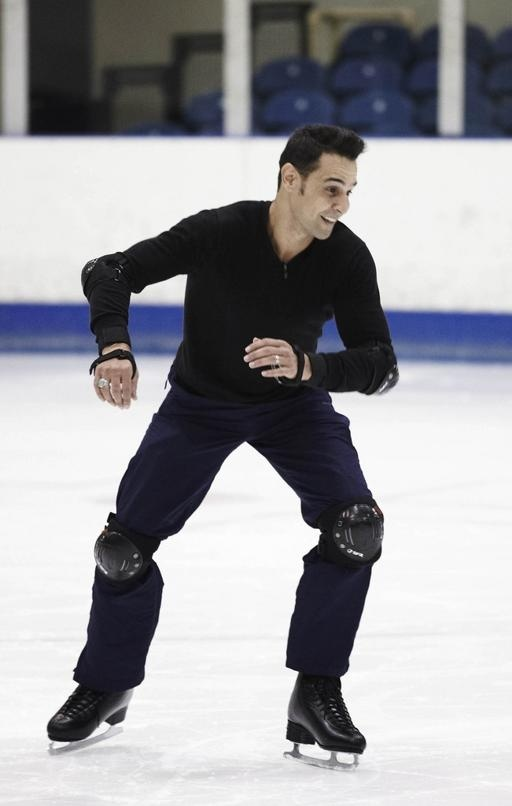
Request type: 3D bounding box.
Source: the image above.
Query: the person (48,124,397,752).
[{"bbox_3d":[-0.049,0.017,1.538,0.572,1.042,0.470,3,7,11],"label":"person"}]

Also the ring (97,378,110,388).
[{"bbox_3d":[-0.250,-0.030,1.405,0.017,0.015,0.009,0,7,-11],"label":"ring"}]

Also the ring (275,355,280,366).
[{"bbox_3d":[0.033,-0.064,1.346,0.004,0.012,0.009,3,10,23],"label":"ring"}]

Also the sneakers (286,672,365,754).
[{"bbox_3d":[0.109,0.531,1.403,0.118,0.116,0.164,2,7,-2],"label":"sneakers"}]

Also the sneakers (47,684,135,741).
[{"bbox_3d":[-0.285,0.526,1.478,0.061,0.083,0.181,-1,-2,35],"label":"sneakers"}]
